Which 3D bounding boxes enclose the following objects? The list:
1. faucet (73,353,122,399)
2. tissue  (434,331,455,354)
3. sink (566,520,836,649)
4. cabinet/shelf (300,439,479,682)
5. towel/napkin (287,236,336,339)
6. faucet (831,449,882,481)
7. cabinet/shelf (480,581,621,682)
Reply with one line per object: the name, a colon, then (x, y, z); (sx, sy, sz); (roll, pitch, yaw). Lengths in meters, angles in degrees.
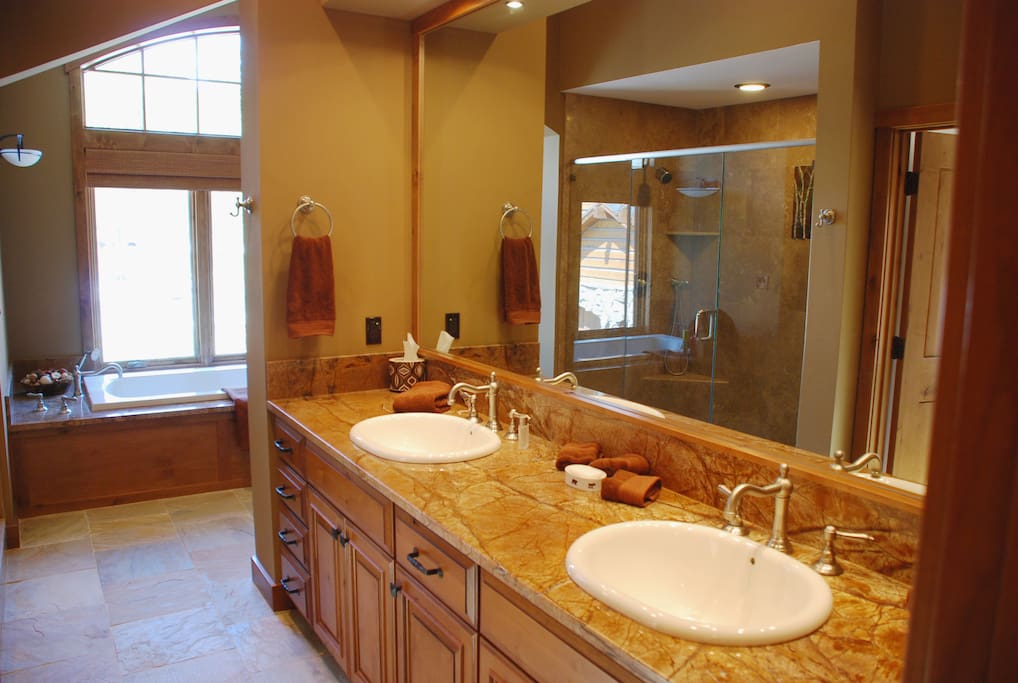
faucet: (-2.423, 0.154, 4.369); (0.241, 0.237, 0.860); (-6, 10, -25)
tissue : (-0.265, 0.001, 3.017); (0.046, 0.079, 0.044); (34, 29, 18)
sink: (0.404, 0.559, 1.652); (0.516, 0.181, 0.395); (7, 12, 44)
cabinet/shelf: (-0.340, 0.625, 2.187); (0.265, 0.486, 0.815); (0, 6, -26)
towel/napkin: (-0.795, -0.221, 2.954); (0.197, 0.386, 0.109); (-4, 10, -15)
faucet: (0.790, 0.282, 1.709); (0.036, 0.061, 0.128); (6, 7, 35)
cabinet/shelf: (0.106, 0.667, 1.730); (0.173, 0.205, 0.337); (0, 7, -33)
